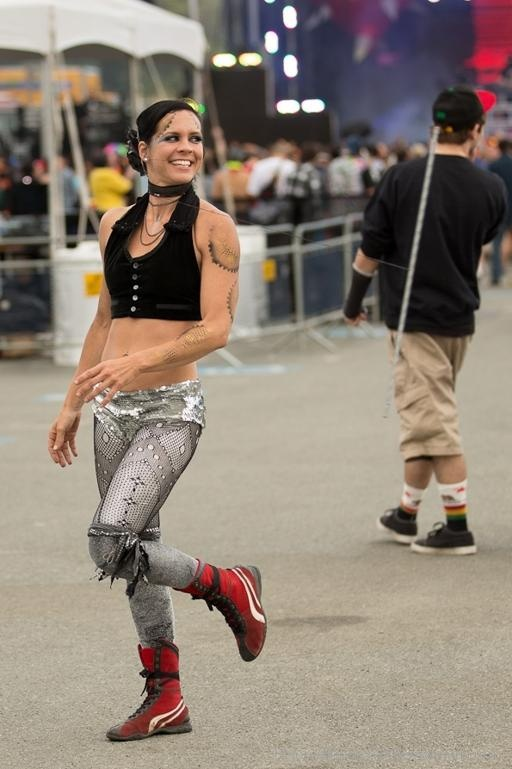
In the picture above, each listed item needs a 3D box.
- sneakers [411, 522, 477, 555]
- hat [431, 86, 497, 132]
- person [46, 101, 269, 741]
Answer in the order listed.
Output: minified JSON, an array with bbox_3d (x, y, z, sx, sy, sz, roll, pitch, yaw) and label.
[{"bbox_3d":[0.911,0.748,4.212,0.330,0.117,0.132,0,-4,11],"label":"sneakers"},{"bbox_3d":[0.942,-1.260,3.998,0.213,0.151,0.322,26,52,38],"label":"hat"},{"bbox_3d":[-0.259,0.078,2.363,0.597,1.732,0.764,-4,5,-12],"label":"person"}]
